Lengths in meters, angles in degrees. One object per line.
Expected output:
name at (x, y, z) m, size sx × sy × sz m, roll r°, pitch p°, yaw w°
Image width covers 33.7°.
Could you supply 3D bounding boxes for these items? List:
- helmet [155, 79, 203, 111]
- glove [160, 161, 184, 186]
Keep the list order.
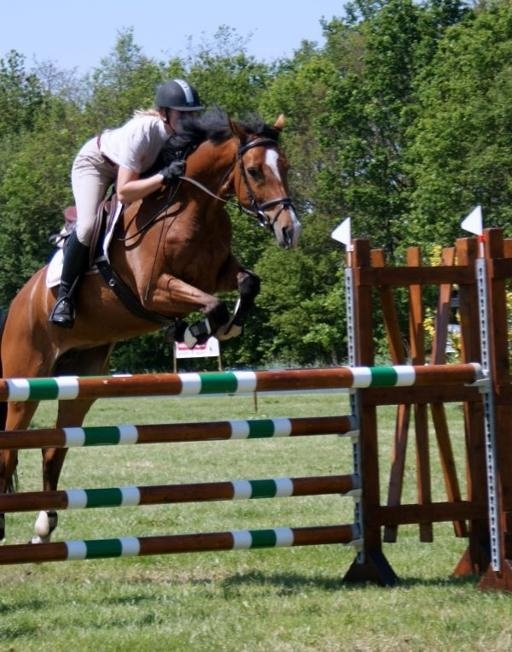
helmet at (-0.434, -1.288, 4.733) m, size 0.193 × 0.110 × 0.247 m, roll -9°, pitch 11°, yaw -40°
glove at (-0.448, -0.835, 4.552) m, size 0.108 × 0.123 × 0.041 m, roll -20°, pitch -46°, yaw 28°
